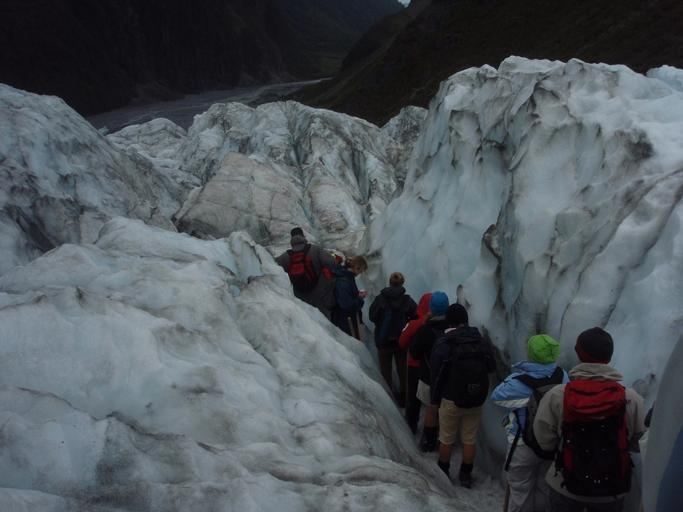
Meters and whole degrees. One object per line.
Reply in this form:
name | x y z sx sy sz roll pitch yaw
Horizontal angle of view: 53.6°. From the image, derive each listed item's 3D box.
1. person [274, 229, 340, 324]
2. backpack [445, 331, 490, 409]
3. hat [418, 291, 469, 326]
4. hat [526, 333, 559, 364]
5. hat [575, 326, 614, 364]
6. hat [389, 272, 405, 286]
person | -0.294 0.239 7.654 0.648 1.302 0.419 -16 32 6
backpack | 0.960 0.978 5.908 0.405 0.586 0.585 1 -7 -3
hat | 0.939 0.475 6.033 0.228 0.197 0.367 -23 -6 -6
hat | 1.544 0.713 5.148 0.173 0.201 0.241 -3 11 -3
hat | 1.821 0.662 4.981 0.232 0.269 0.266 14 -30 -8
hat | 0.586 0.241 6.936 0.105 0.137 0.167 11 8 37
